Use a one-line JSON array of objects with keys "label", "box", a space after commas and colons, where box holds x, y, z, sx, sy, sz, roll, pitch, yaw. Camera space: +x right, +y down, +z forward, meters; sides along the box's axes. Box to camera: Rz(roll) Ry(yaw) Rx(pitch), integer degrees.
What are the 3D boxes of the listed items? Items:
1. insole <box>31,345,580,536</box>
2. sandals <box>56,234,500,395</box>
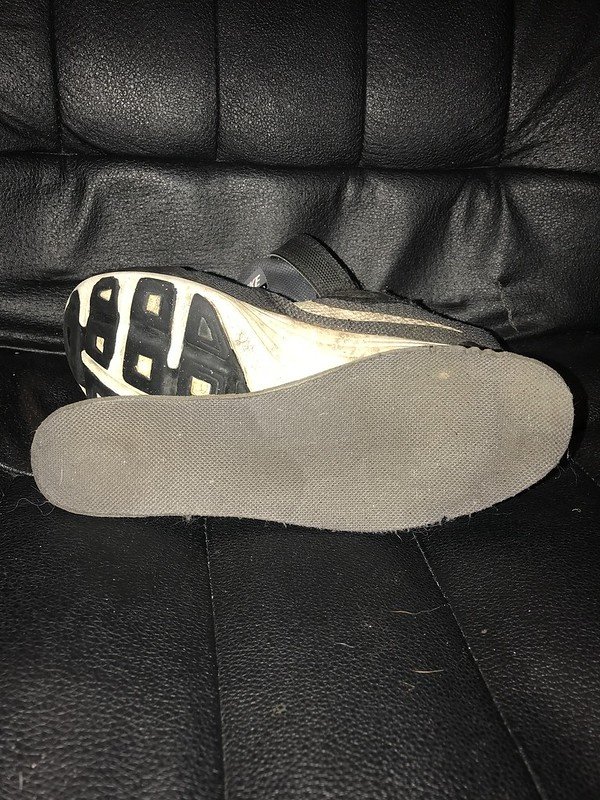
[{"label": "insole", "box": [-0.010, 0.038, 0.759, 0.610, 0.184, 0.212, 0, 0, 2]}, {"label": "sandals", "box": [-0.064, -0.080, 0.797, 0.525, 0.159, 0.223, 5, 17, 5]}]
